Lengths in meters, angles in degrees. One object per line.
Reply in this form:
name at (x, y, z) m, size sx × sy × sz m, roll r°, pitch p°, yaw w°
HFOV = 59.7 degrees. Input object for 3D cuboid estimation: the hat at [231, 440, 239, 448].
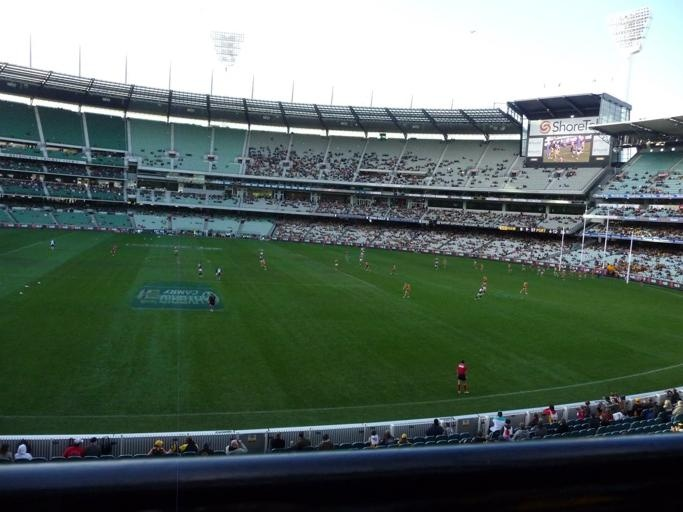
hat at (-2.125, 3.704, 11.765) m, size 0.166 × 0.119 × 0.161 m, roll 1°, pitch 8°, yaw -7°
